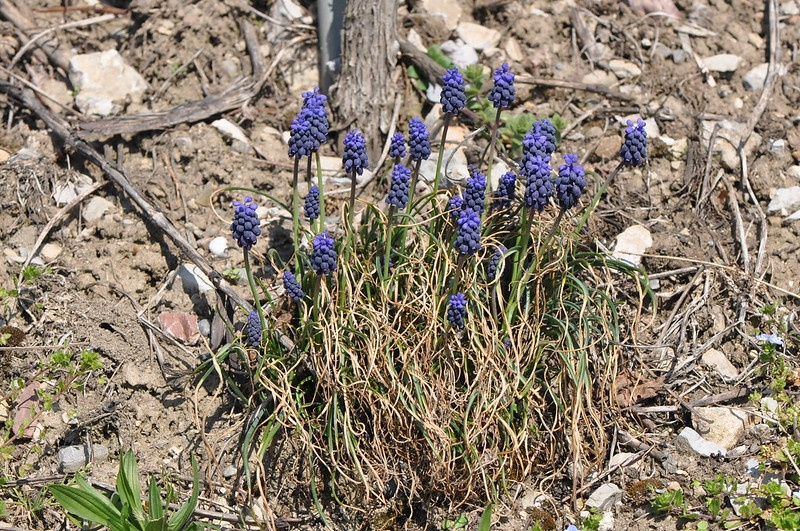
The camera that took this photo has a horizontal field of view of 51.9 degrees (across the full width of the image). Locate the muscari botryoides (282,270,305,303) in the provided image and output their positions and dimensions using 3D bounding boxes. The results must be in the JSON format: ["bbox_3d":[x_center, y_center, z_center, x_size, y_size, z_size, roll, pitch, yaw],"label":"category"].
[{"bbox_3d":[-0.751,0.144,5.806,0.094,0.221,0.114,-31,29,-20],"label":"muscari botryoides"}]
